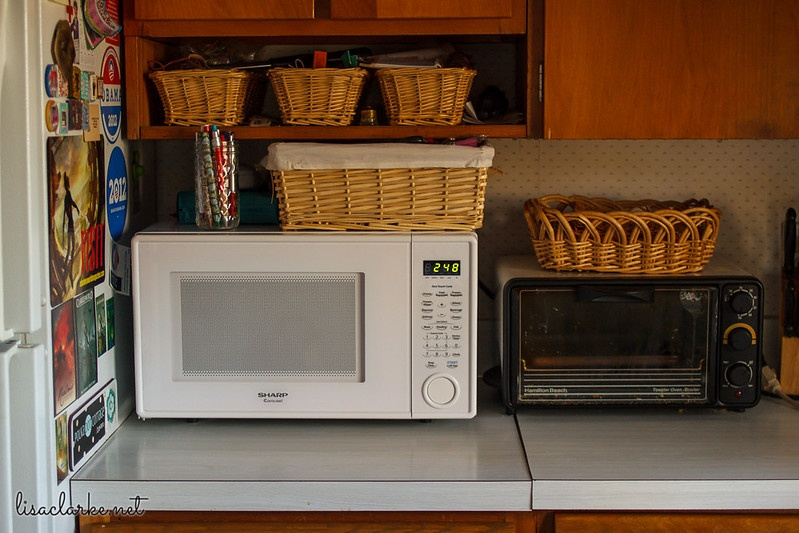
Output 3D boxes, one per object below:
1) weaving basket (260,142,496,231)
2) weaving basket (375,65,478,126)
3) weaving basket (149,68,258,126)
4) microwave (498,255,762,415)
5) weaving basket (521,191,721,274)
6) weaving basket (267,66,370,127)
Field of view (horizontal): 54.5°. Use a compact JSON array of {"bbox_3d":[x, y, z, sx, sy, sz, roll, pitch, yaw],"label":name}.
[{"bbox_3d":[-0.051,-0.181,1.769,0.406,0.128,0.253,-1,6,-3],"label":"weaving basket"},{"bbox_3d":[0.067,-0.395,1.831,0.192,0.085,0.170,-1,6,-6],"label":"weaving basket"},{"bbox_3d":[-0.470,-0.371,1.802,0.232,0.091,0.164,-1,1,-1],"label":"weaving basket"},{"bbox_3d":[0.537,0.178,1.680,0.516,0.226,0.387,0,5,2],"label":"microwave"},{"bbox_3d":[0.534,-0.104,1.874,0.410,0.127,0.236,-1,10,3],"label":"weaving basket"},{"bbox_3d":[-0.182,-0.414,1.943,0.266,0.132,0.295,0,3,0],"label":"weaving basket"}]
